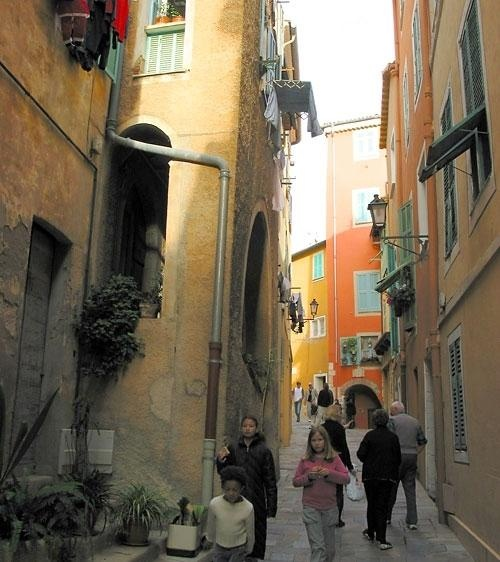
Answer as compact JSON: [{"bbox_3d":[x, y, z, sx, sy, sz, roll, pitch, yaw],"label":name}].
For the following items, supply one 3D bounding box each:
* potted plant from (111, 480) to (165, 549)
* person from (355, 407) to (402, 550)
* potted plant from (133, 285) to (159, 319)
[{"bbox_3d":[-1.061,2.410,5.115,0.341,0.523,0.381,-2,-13,19],"label":"potted plant"},{"bbox_3d":[1.434,2.164,5.547,0.436,1.431,0.573,-4,-14,22],"label":"person"},{"bbox_3d":[-1.334,0.291,6.649,0.302,0.297,0.263,7,-9,-43],"label":"potted plant"}]
